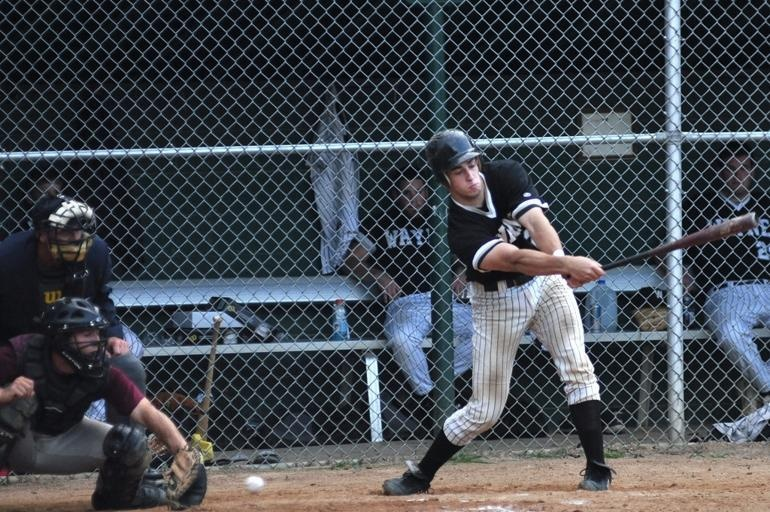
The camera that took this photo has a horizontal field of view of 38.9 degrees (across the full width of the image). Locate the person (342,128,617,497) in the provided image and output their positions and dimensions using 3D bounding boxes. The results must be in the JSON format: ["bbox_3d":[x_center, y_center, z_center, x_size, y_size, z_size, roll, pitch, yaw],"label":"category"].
[{"bbox_3d":[0.683,0.329,6.104,1.161,2.077,0.450,0,1,10],"label":"person"}]

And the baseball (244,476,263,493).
[{"bbox_3d":[-0.754,1.353,6.403,0.076,0.049,0.072,-2,6,-37],"label":"baseball"}]

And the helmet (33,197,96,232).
[{"bbox_3d":[-1.778,-0.229,6.075,0.261,0.164,0.207,14,4,23],"label":"helmet"}]

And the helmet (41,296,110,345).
[{"bbox_3d":[-1.648,0.346,5.858,0.284,0.189,0.214,8,8,36],"label":"helmet"}]

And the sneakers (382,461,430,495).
[{"bbox_3d":[0.142,1.292,6.277,0.313,0.171,0.163,3,2,-9],"label":"sneakers"}]

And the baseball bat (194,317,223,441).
[{"bbox_3d":[-1.238,0.866,7.651,0.139,0.933,0.129,16,-18,-16],"label":"baseball bat"}]

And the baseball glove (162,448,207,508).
[{"bbox_3d":[-1.088,1.237,5.974,0.241,0.314,0.148,-4,11,-39],"label":"baseball glove"}]

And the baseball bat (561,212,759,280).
[{"bbox_3d":[1.626,-0.026,6.154,0.132,0.136,1.240,-24,-1,-34],"label":"baseball bat"}]
